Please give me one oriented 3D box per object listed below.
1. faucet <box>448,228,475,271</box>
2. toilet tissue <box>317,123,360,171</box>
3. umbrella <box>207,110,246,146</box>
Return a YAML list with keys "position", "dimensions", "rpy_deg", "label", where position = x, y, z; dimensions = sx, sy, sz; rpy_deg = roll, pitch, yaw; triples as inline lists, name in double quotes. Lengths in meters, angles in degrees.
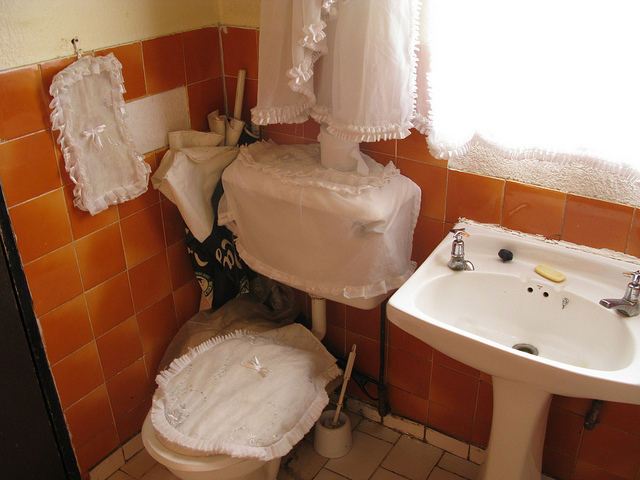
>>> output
- position: [0.458, 0.034, 1.686]
  dimensions: [0.100, 0.128, 0.075]
  rpy_deg: [2, -7, 38]
  label: "faucet"
- position: [0.063, -0.314, 1.889]
  dimensions: [0.141, 0.141, 0.147]
  rpy_deg: [22, 39, 30]
  label: "toilet tissue"
- position: [-0.379, -0.450, 2.092]
  dimensions: [0.101, 0.109, 0.076]
  rpy_deg: [30, 27, 19]
  label: "umbrella"
